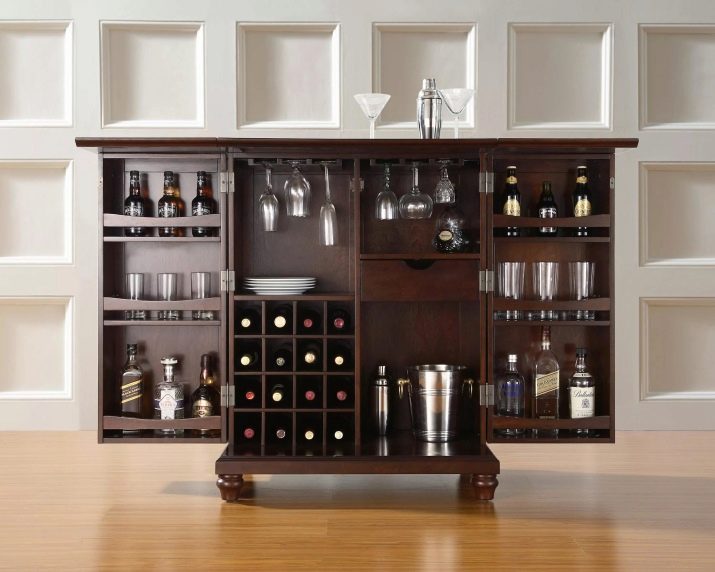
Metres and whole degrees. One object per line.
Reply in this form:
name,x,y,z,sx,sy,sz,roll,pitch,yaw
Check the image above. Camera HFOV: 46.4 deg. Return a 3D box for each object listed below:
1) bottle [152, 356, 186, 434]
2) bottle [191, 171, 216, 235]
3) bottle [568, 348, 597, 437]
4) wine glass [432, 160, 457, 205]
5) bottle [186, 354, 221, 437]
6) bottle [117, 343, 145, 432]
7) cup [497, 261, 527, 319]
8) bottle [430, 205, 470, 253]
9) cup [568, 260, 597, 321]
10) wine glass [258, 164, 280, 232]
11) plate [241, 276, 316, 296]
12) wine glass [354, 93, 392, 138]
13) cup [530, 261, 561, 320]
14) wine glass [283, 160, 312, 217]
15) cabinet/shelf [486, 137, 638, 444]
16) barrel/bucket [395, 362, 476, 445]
bottle,-0.846,0.491,3.784,0.131,0.289,0.351,-3,11,-14
bottle,-0.698,-0.382,3.895,0.134,0.297,0.123,-4,-3,0
bottle,0.997,0.439,3.731,0.117,0.284,0.248,3,11,14
wine glass,0.384,-0.460,3.721,0.100,0.192,0.174,1,10,5
bottle,-0.699,0.494,3.851,0.155,0.315,0.143,3,1,0
bottle,-1.013,0.451,3.793,0.111,0.347,0.322,-3,11,-15
cup,0.670,0.011,3.763,0.155,0.254,0.142,0,-4,0
bottle,0.411,-0.246,3.715,0.233,0.250,0.139,0,-10,-1
cup,1.005,-0.016,3.763,0.145,0.197,0.134,-2,12,0
wine glass,-0.395,-0.383,3.744,0.091,0.301,0.182,-1,11,-5
plate,-0.344,0.000,3.712,0.313,0.077,0.119,-1,10,-6
wine glass,0.070,-0.755,3.818,0.204,0.204,0.185,4,-1,-21
cup,0.843,0.013,3.790,0.206,0.250,0.191,1,-5,0
wine glass,-0.263,-0.428,3.744,0.124,0.257,0.184,-1,11,-5
cabinet/shelf,0.855,0.034,3.693,0.740,1.214,0.420,0,4,12
barrel/bucket,0.346,0.508,3.749,0.340,0.315,0.259,1,10,3
